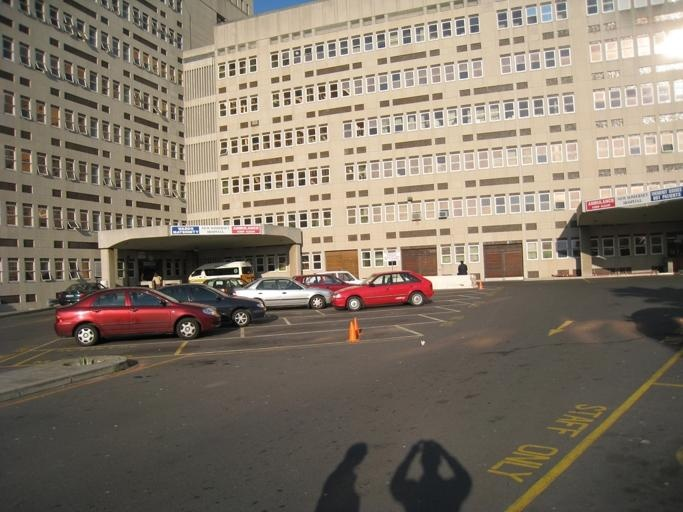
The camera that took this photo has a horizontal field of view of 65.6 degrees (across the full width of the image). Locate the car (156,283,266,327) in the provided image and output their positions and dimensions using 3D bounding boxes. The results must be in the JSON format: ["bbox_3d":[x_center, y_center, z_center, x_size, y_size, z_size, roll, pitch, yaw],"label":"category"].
[{"bbox_3d":[-4.685,1.863,19.920,3.700,1.159,1.547,0,0,-8],"label":"car"}]

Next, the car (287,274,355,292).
[{"bbox_3d":[-1.064,1.551,27.696,2.551,0.838,1.073,-2,1,0],"label":"car"}]

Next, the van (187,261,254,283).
[{"bbox_3d":[-9.458,1.791,41.582,4.731,2.239,2.640,2,0,8],"label":"van"}]

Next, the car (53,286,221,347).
[{"bbox_3d":[-6.356,1.744,17.167,4.584,1.504,1.985,-2,-1,-12],"label":"car"}]

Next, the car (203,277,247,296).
[{"bbox_3d":[-6.011,1.527,27.444,1.683,0.738,0.991,3,3,6],"label":"car"}]

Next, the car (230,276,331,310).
[{"bbox_3d":[-2.850,1.894,25.563,4.334,1.361,1.739,-2,1,-8],"label":"car"}]

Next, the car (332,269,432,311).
[{"bbox_3d":[1.793,1.583,24.497,4.096,1.389,1.908,-1,-3,-6],"label":"car"}]

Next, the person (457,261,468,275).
[{"bbox_3d":[8.149,0.898,35.834,0.484,0.663,0.949,-4,-2,30],"label":"person"}]
